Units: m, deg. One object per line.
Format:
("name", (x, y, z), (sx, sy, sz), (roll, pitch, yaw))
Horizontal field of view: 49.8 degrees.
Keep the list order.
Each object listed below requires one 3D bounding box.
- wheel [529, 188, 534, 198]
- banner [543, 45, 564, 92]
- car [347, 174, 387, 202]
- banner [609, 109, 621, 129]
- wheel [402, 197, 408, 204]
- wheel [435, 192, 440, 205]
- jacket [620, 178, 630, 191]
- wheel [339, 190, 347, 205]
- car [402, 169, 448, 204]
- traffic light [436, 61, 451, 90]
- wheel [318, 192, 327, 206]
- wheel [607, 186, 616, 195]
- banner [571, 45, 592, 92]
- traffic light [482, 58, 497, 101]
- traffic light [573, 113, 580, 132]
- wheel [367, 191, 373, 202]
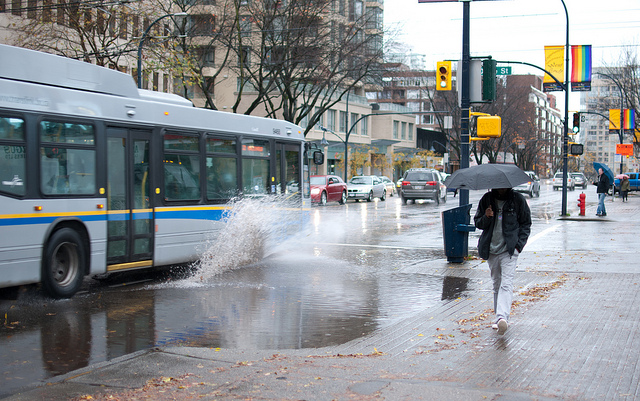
("wheel", (16.221, -0.648, 53.179), (0.243, 0.705, 0.727), (7, -4, 18))
("banner", (12.180, -6.818, 36.007), (1.027, 2.391, 3.024), (2, 5, 18))
("car", (3.292, -0.816, 49.067), (2.360, 1.724, 3.488), (1, 5, 11))
("banner", (22.631, -6.232, 52.949), (0.479, 1.460, 1.204), (0, 5, -2))
("wheel", (5.365, -0.024, 44.115), (0.351, 0.372, 0.342), (2, 5, 0))
("wheel", (7.448, -0.179, 43.953), (0.275, 0.725, 0.746), (2, -5, 8))
("jacket", (20.247, -1.034, 45.822), (0.390, 0.758, 0.537), (1, 5, 8))
("wheel", (1.437, -0.207, 44.845), (0.347, 0.982, 1.017), (1, 0, 24))
("car", (6.893, -0.900, 45.726), (2.467, 2.080, 5.056), (0, 4, 14))
("traffic light", (3.297, -3.346, 18.395), (0.356, 0.749, 0.416), (1, 5, 11))
("wheel", (0.126, -0.119, 42.019), (0.239, 0.836, 0.959), (2, 5, 20))
("wheel", (22.271, -0.794, 52.837), (0.241, 0.912, 0.995), (8, 9, 24))
("banner", (13.606, -6.898, 36.053), (1.001, 2.312, 0.595), (1, 5, 15))
("traffic light", (4.363, -3.137, 17.858), (0.335, 1.052, 0.458), (1, 5, 10))
("traffic light", (12.506, -3.815, 33.720), (0.273, 0.903, 1.414), (2, 5, 19))
("wheel", (3.444, -0.351, 48.220), (0.307, 0.765, 0.792), (-3, 0, 24))
